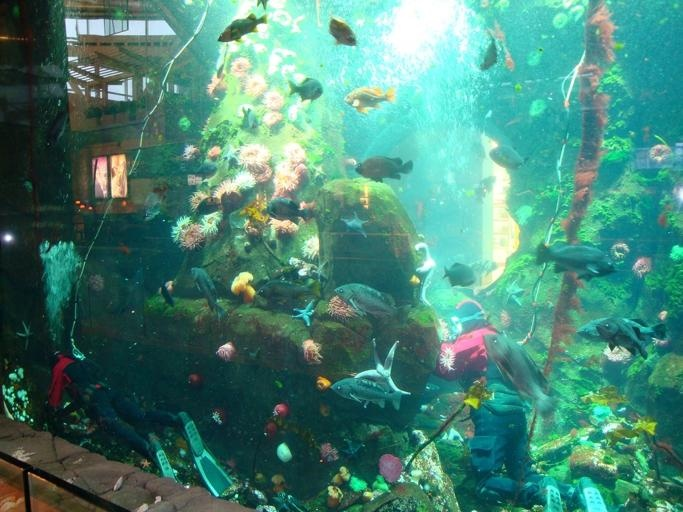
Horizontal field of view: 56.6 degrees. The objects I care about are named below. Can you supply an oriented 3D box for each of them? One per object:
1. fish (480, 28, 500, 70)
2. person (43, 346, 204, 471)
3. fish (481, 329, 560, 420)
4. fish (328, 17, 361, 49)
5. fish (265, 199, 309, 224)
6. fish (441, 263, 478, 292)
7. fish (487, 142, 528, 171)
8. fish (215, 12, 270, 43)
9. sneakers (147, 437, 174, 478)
[{"bbox_3d":[2.578,-3.551,11.017,0.303,0.427,0.610,9,6,13],"label":"fish"},{"bbox_3d":[-3.665,2.407,9.985,2.423,1.036,1.117,27,20,12],"label":"person"},{"bbox_3d":[2.610,1.514,9.046,0.469,0.773,1.739,35,17,-7],"label":"fish"},{"bbox_3d":[-0.002,-3.197,9.043,0.389,0.322,0.247,7,5,-4],"label":"fish"},{"bbox_3d":[-0.894,-0.703,10.077,0.627,0.375,0.125,9,46,-7],"label":"fish"},{"bbox_3d":[1.781,0.250,9.609,0.396,0.377,0.208,-10,10,17],"label":"fish"},{"bbox_3d":[2.687,-1.611,10.408,0.481,0.406,0.134,24,-20,9],"label":"fish"},{"bbox_3d":[-1.395,-3.194,8.815,0.573,0.480,0.669,6,6,-14],"label":"fish"},{"bbox_3d":[-2.755,3.049,9.567,0.581,0.139,0.139,53,15,13],"label":"sneakers"}]
